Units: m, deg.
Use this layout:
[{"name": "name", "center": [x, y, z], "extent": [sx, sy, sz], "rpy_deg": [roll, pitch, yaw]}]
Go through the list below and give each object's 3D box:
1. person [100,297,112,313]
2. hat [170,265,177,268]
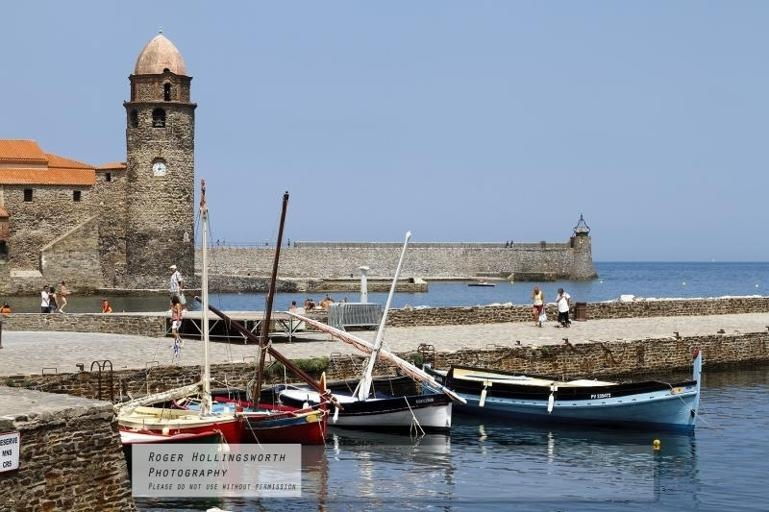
[{"name": "person", "center": [-13.680, 2.429, 69.934], "extent": [0.666, 0.767, 0.604], "rpy_deg": [-1, 33, -13]}, {"name": "hat", "center": [-10.119, 0.500, 68.192], "extent": [0.418, 0.105, 0.382], "rpy_deg": [0, 2, 13]}]
